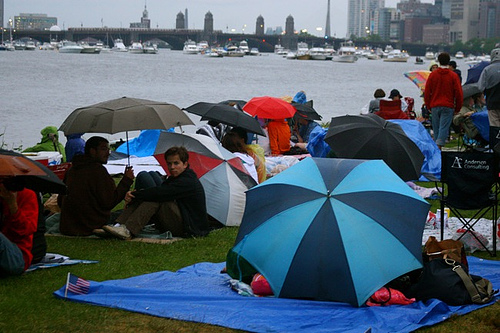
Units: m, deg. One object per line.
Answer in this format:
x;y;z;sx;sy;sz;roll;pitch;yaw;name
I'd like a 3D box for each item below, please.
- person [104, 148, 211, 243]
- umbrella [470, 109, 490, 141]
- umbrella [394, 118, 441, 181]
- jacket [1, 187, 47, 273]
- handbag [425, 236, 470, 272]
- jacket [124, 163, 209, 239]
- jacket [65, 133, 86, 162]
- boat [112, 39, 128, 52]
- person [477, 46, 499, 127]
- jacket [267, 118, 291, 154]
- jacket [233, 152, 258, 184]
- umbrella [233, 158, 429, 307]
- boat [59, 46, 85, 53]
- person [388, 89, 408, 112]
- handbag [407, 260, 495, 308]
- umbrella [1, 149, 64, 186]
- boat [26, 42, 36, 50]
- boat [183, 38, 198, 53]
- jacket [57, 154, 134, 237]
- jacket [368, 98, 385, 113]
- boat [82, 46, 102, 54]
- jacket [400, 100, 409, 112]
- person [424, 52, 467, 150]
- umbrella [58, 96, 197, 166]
-1.366;0.435;11.940;1.719;1.570;0.947;6;-1;-26;person
4.165;-0.744;13.785;0.316;0.580;0.597;-3;9;-14;umbrella
3.520;-0.299;15.887;0.812;0.353;1.143;-8;29;-4;umbrella
-3.016;0.826;10.296;0.556;1.221;0.693;-3;9;-16;jacket
2.558;1.150;9.995;0.464;0.508;0.389;-4;7;7;handbag
-1.117;0.587;11.708;0.998;1.056;0.286;-2;9;-12;jacket
-3.141;-0.349;13.929;0.399;0.409;0.230;18;31;34;jacket
-27.247;-26.429;162.535;3.216;2.430;6.045;-4;5;-10;boat
4.081;-1.371;13.168;0.332;1.246;1.113;2;9;16;person
0.633;-0.630;16.649;0.407;0.799;0.908;1;-1;3;jacket
-0.080;-0.042;13.405;0.497;0.159;0.437;30;24;-32;jacket
1.040;0.878;9.757;2.265;1.720;0.860;1;9;7;umbrella
-29.852;-19.776;128.332;4.105;1.085;3.501;1;9;10;boat
3.614;-1.680;18.823;0.390;0.387;0.714;3;16;21;person
2.537;1.500;9.698;0.791;0.323;0.618;6;20;12;handbag
-2.758;0.033;9.771;0.716;0.456;0.440;-3;9;-17;umbrella
-43.431;-24.396;153.246;1.333;1.547;4.959;-3;6;-11;boat
-12.674;-26.082;162.954;2.730;3.369;7.983;-2;8;-4;boat
-2.411;0.501;12.031;0.897;1.385;0.983;0;-1;-37;jacket
3.083;-1.536;18.844;0.439;0.485;0.265;1;-9;-10;jacket
-26.812;-19.994;130.831;1.399;1.116;4.129;3;10;19;boat
3.912;-1.527;19.536;0.226;0.129;0.324;2;47;9;jacket
4.191;-1.366;16.636;0.790;2.253;0.689;7;8;37;person
-1.971;-0.788;12.596;1.349;0.934;1.434;-4;9;3;umbrella
